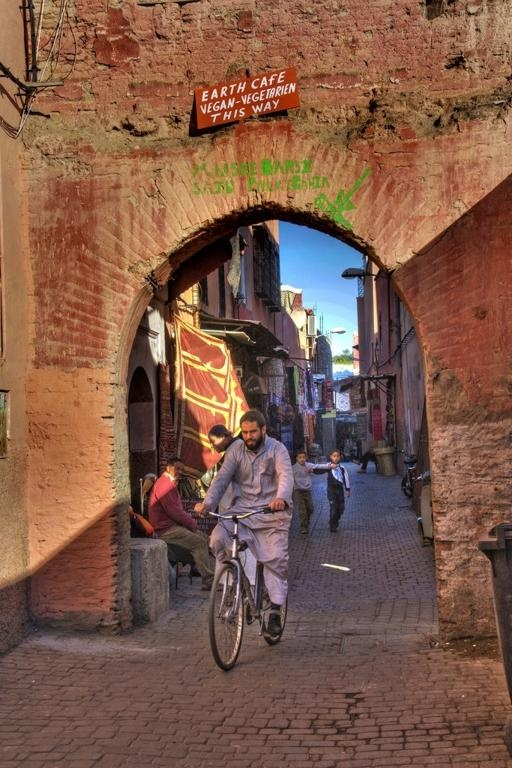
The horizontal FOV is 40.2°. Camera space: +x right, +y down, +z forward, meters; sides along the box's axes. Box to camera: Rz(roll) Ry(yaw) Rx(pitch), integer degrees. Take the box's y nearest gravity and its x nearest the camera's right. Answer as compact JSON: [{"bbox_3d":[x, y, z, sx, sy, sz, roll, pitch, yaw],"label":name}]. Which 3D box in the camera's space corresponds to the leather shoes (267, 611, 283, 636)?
[{"bbox_3d":[0.140,1.717,5.016,0.093,0.130,0.192,0,-11,2],"label":"leather shoes"}]

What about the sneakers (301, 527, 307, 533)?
[{"bbox_3d":[0.835,2.531,12.074,0.126,0.086,0.163,-2,-7,11],"label":"sneakers"}]

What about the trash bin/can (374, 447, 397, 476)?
[{"bbox_3d":[4.617,2.629,24.151,0.855,1.021,0.884,-5,1,-26],"label":"trash bin/can"}]
